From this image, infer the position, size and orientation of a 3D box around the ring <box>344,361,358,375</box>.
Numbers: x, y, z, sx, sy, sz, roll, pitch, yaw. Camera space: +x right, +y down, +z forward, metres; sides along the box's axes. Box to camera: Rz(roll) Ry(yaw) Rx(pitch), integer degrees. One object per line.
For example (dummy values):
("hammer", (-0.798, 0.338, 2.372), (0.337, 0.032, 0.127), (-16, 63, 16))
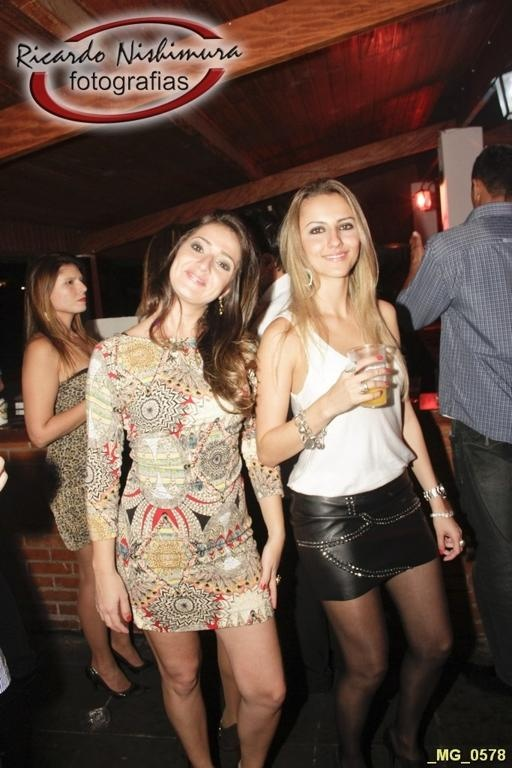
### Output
("ring", (0.269, -0.049, 1.674), (0.027, 0.036, 0.013), (11, -17, 46))

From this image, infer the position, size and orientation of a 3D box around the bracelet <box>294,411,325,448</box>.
("bracelet", (0.165, 0.145, 1.744), (0.040, 0.105, 0.083), (-35, 26, -10))

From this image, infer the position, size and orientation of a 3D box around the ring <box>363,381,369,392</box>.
("ring", (0.298, 0.005, 1.606), (0.021, 0.020, 0.017), (1, -23, -3))

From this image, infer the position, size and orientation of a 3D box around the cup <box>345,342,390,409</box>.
("cup", (0.321, -0.022, 1.701), (0.117, 0.184, 0.202), (-5, 10, 9))

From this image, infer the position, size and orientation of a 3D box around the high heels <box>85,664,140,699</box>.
("high heels", (-0.665, 1.338, 2.713), (0.280, 0.103, 0.092), (19, -4, 14))

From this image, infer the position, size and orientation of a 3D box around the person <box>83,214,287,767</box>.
("person", (-0.199, 0.325, 1.832), (0.555, 1.646, 0.467), (-6, 11, 2))
